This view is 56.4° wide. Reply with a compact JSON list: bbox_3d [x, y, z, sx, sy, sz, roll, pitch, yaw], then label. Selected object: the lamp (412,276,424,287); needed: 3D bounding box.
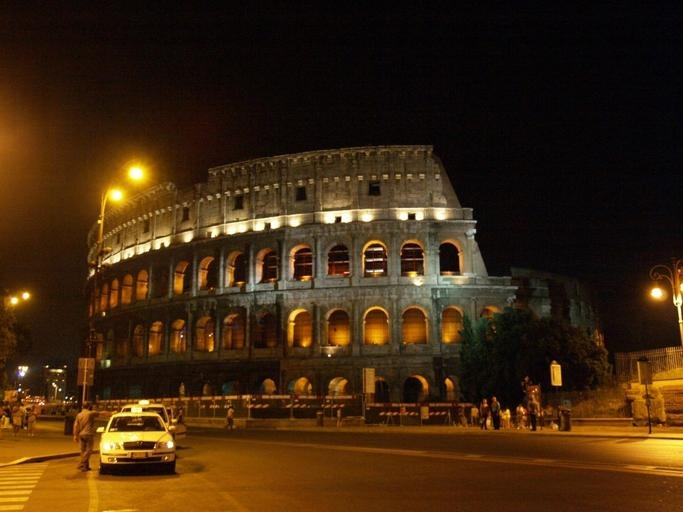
[{"bbox_3d":[6.544,2.156,54.534,0.962,0.924,0.239,0,-18,-1],"label":"lamp"}]
